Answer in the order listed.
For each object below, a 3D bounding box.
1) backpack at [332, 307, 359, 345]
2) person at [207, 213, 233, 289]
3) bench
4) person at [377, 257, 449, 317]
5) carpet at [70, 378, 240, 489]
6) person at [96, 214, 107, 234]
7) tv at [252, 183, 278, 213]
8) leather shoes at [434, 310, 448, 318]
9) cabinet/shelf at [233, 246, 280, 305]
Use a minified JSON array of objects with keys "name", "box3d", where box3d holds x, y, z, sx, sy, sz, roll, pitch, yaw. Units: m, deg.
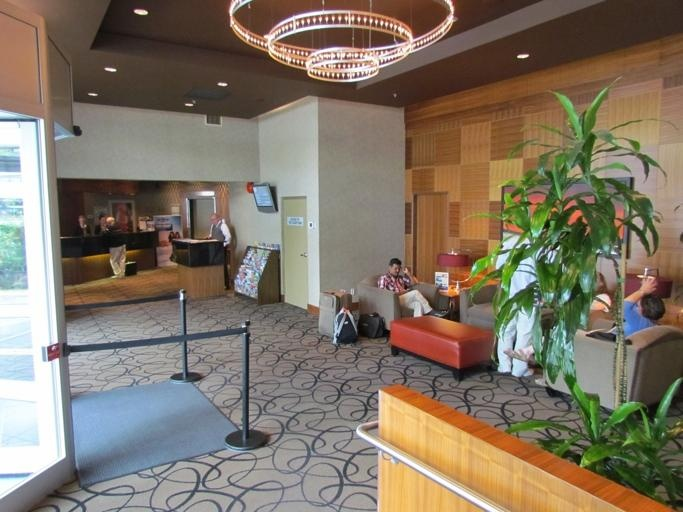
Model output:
[{"name":"backpack","box3d":[0.013,1.171,7.917,0.573,0.726,0.404,0,5,8]},{"name":"person","box3d":[-3.149,-0.112,12.539,0.528,1.939,1.338,-3,6,-13]},{"name":"bench","box3d":[1.385,1.259,6.776,0.662,0.580,1.294,-7,8,-42]},{"name":"person","box3d":[1.185,0.617,8.295,0.616,0.816,1.331,-11,21,-32]},{"name":"carpet","box3d":[-2.107,1.841,5.331,1.520,0.181,1.821,-5,7,-30]},{"name":"person","box3d":[-8.209,-1.097,16.288,0.349,0.610,0.901,-5,7,-27]},{"name":"tv","box3d":[-1.804,-1.377,11.254,0.212,0.619,0.703,-15,2,-28]},{"name":"leather shoes","box3d":[1.643,0.974,8.120,0.145,0.056,0.145,1,4,21]},{"name":"cabinet/shelf","box3d":[-1.974,0.488,11.215,0.511,1.219,1.314,0,3,-24]}]
